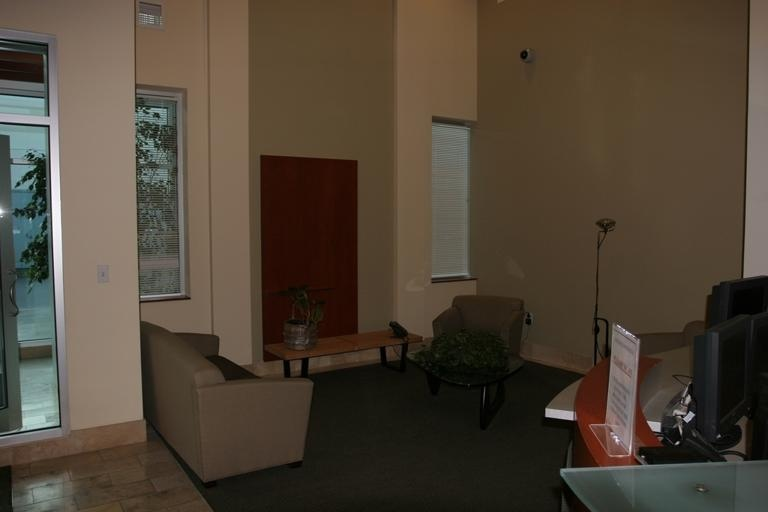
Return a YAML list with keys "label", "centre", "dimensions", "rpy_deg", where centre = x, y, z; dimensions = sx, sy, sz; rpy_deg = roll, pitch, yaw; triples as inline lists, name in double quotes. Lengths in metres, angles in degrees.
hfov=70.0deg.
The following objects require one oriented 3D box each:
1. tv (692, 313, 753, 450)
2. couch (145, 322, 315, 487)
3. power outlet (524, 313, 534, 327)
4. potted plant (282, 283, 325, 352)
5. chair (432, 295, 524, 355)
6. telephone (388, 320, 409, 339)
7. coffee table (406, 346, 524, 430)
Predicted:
- label: "tv"
  centre: [2.076, 0.802, 3.356]
  dimensions: [0.269, 0.737, 0.851]
  rpy_deg: [-1, -6, 39]
- label: "couch"
  centre: [-1.410, 0.828, 4.959]
  dimensions: [1.054, 0.975, 2.266]
  rpy_deg: [-6, 9, -33]
- label: "power outlet"
  centre: [2.081, 0.916, 7.862]
  dimensions: [0.112, 0.214, 0.066]
  rpy_deg: [4, 11, 12]
- label: "potted plant"
  centre: [-1.002, 0.793, 6.761]
  dimensions: [0.549, 0.720, 0.511]
  rpy_deg: [0, -2, -4]
- label: "chair"
  centre: [1.276, 1.029, 7.323]
  dimensions: [1.039, 0.868, 0.820]
  rpy_deg: [2, 8, 29]
- label: "telephone"
  centre: [0.202, 0.997, 7.369]
  dimensions: [0.165, 0.163, 0.241]
  rpy_deg: [-9, 9, -41]
- label: "coffee table"
  centre: [0.879, 1.549, 6.310]
  dimensions: [1.118, 0.534, 1.402]
  rpy_deg: [2, 0, -36]
